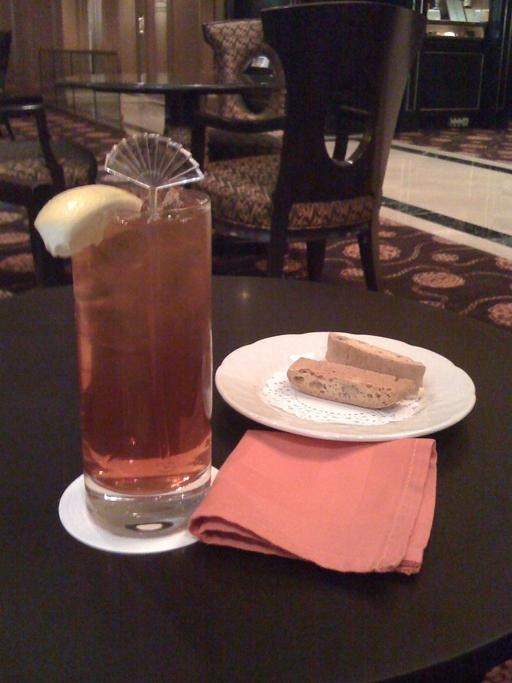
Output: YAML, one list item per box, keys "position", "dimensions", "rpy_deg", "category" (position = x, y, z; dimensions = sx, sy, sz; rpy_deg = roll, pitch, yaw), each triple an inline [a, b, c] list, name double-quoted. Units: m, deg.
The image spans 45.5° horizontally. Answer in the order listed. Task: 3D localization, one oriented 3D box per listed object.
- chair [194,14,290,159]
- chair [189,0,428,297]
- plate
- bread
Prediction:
- position: [-0.086, -1.099, 2.813]
  dimensions: [0.461, 0.612, 0.438]
  rpy_deg: [-5, 53, -22]
  category: "chair"
- position: [0.081, -0.648, 2.191]
  dimensions: [0.600, 0.982, 1.245]
  rpy_deg: [-1, 28, -10]
  category: "chair"
- position: [0.077, 0.043, 0.496]
  dimensions: [0.124, 0.016, 0.119]
  rpy_deg: [-3, 18, -7]
  category: "plate"
- position: [0.092, 0.015, 0.517]
  dimensions: [0.075, 0.019, 0.074]
  rpy_deg: [10, 19, 18]
  category: "bread"
